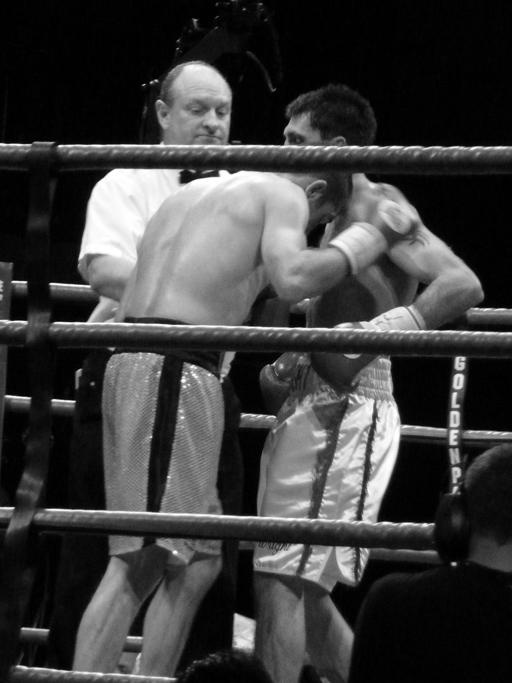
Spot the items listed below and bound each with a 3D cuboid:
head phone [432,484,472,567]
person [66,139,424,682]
[{"bbox_3d":[0.243,0.235,1.305,0.043,0.089,0.064,5,9,10],"label":"head phone"},{"bbox_3d":[-0.042,0.101,1.762,0.678,0.782,0.471,-5,12,-41],"label":"person"}]
